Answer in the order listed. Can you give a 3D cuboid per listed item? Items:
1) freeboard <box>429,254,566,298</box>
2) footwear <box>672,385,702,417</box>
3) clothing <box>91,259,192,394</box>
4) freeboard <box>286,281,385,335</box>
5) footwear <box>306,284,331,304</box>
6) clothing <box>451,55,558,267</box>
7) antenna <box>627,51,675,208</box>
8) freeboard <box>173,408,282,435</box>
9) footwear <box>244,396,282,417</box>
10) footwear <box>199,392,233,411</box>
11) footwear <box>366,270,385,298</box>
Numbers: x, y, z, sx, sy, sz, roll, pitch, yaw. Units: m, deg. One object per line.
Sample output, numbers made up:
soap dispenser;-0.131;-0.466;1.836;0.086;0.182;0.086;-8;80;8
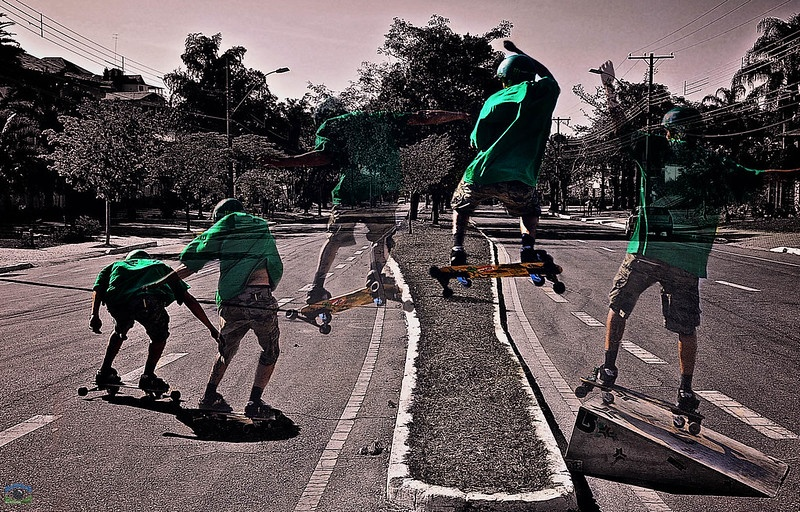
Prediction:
freeboard;1.067;0.236;7.519;1.962;0.573;0.497;-2;27;15
footwear;3.213;1.612;6.761;0.248;0.274;0.660;2;4;26
clothing;-3.458;0.756;8.150;1.438;1.957;0.973;5;-21;-21
freeboard;-1.076;0.947;10.526;2.233;0.527;0.579;-15;11;-18
footwear;-1.182;0.537;8.617;0.307;0.271;0.324;-3;8;-12
clothing;1.267;-1.342;7.610;1.576;2.917;1.269;0;-2;-1
antenna;11.180;-6.600;27.026;2.610;4.989;0.843;-1;3;-6
freeboard;-1.993;1.985;7.147;1.487;0.193;0.422;4;10;2
footwear;-1.654;1.792;7.172;0.511;0.206;0.176;2;19;-6
footwear;-2.236;1.758;7.319;0.456;0.208;0.183;3;1;-4
footwear;-0.359;0.417;9.047;0.113;0.340;0.359;2;28;-21
